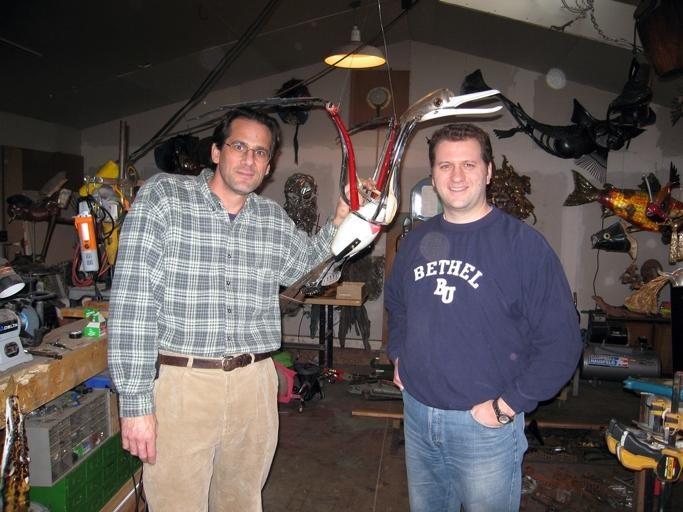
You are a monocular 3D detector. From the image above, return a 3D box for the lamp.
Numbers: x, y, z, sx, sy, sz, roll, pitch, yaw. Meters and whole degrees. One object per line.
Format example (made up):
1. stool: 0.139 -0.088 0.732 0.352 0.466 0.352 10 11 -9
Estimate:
1. lamp: 0.123 -1.802 4.545 0.485 0.289 0.487 -6 8 -41
